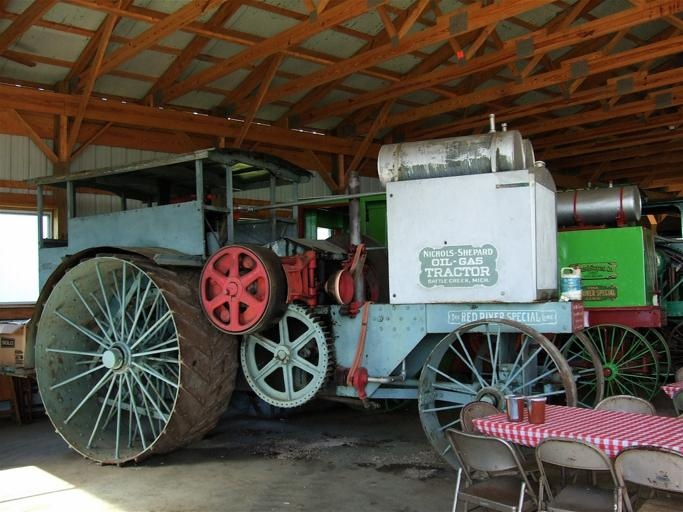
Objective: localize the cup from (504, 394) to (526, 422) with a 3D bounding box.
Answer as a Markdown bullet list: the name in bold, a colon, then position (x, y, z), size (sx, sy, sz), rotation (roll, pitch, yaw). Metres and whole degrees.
- **cup**: position (1.108, 0.972, 3.686), size (0.167, 0.142, 0.160), rotation (1, -1, 0)

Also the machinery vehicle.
- **machinery vehicle**: position (0.021, 0.435, 6.199), size (7.080, 2.957, 3.471), rotation (-1, -1, 25)

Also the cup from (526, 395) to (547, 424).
- **cup**: position (1.226, 0.997, 3.699), size (0.172, 0.152, 0.158), rotation (2, -17, 1)

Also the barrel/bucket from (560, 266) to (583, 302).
- **barrel/bucket**: position (2.018, 0.245, 5.041), size (0.198, 0.246, 0.176), rotation (-5, 2, -26)
